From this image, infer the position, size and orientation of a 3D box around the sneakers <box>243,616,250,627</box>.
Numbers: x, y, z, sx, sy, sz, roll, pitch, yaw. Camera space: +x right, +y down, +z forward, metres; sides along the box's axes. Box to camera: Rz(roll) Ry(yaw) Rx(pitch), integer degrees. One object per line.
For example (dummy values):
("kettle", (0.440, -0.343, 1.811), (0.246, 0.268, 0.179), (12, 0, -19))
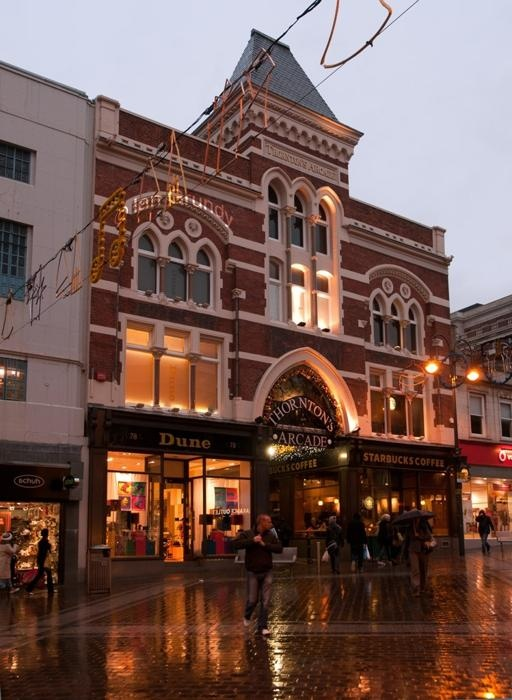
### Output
("sneakers", (-0.148, 3.927, 10.651), (0.070, 0.145, 0.230), (-1, -12, -3))

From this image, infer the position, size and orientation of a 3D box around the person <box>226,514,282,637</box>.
("person", (0.036, 3.199, 10.581), (0.657, 1.605, 0.818), (-2, -13, -1))

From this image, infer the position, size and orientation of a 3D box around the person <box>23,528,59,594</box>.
("person", (-5.544, 5.376, 18.889), (0.622, 1.545, 2.526), (2, -13, -16))
